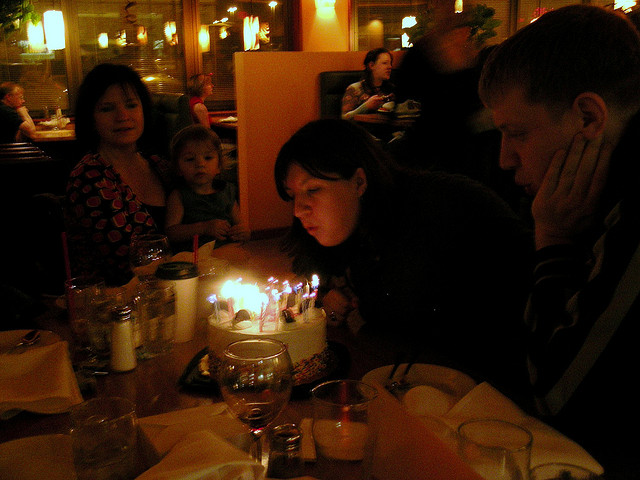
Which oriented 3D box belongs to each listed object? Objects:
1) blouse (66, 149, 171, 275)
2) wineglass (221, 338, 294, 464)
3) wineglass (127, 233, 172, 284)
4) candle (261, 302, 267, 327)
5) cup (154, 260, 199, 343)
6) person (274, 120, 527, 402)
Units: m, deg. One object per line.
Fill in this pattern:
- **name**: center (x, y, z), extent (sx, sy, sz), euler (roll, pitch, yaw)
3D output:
- **blouse**: center (-0.888, -0.113, 2.335), extent (0.284, 0.514, 0.484), euler (5, 19, 29)
- **wineglass**: center (-0.121, 0.279, 1.034), extent (0.123, 0.227, 0.128), euler (3, 7, 23)
- **wineglass**: center (-0.577, 0.076, 1.784), extent (0.146, 0.159, 0.149), euler (4, 7, 44)
- **candle**: center (-0.141, 0.186, 1.363), extent (0.006, 0.054, 0.020), euler (10, 18, 34)
- **cup**: center (-0.414, 0.173, 1.590), extent (0.115, 0.201, 0.182), euler (-7, 16, -26)
- **person**: center (0.354, 0.163, 2.005), extent (0.912, 1.319, 0.634), euler (1, 11, 25)
